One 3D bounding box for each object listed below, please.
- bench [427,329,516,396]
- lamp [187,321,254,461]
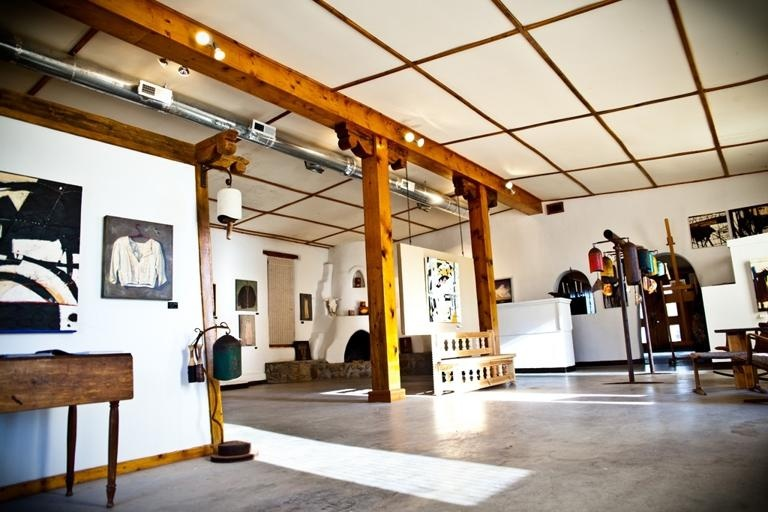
[{"bbox_3d":[1.641,1.927,8.648,0.656,1.045,2.090,-8,-11,37],"label":"bench"},{"bbox_3d":[-1.585,1.365,4.908,0.728,1.344,0.543,-4,-10,18],"label":"lamp"}]
